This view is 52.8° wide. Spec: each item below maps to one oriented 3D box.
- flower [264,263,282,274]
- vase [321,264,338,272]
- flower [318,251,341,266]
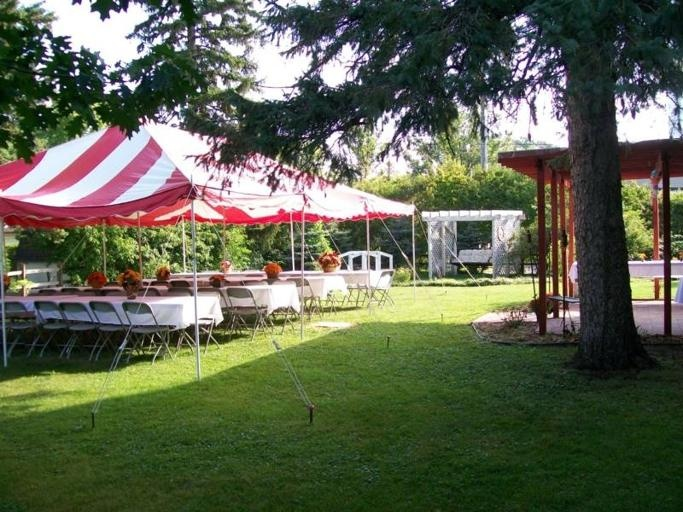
[{"bbox_3d":[-1.240,0.244,12.380,0.309,0.232,0.303,3,-5,-35],"label":"flower"},{"bbox_3d":[-0.258,0.236,14.164,0.221,0.105,0.218,3,-6,-33],"label":"vase"},{"bbox_3d":[-0.270,0.062,14.213,0.316,0.231,0.329,0,2,27],"label":"flower"}]
